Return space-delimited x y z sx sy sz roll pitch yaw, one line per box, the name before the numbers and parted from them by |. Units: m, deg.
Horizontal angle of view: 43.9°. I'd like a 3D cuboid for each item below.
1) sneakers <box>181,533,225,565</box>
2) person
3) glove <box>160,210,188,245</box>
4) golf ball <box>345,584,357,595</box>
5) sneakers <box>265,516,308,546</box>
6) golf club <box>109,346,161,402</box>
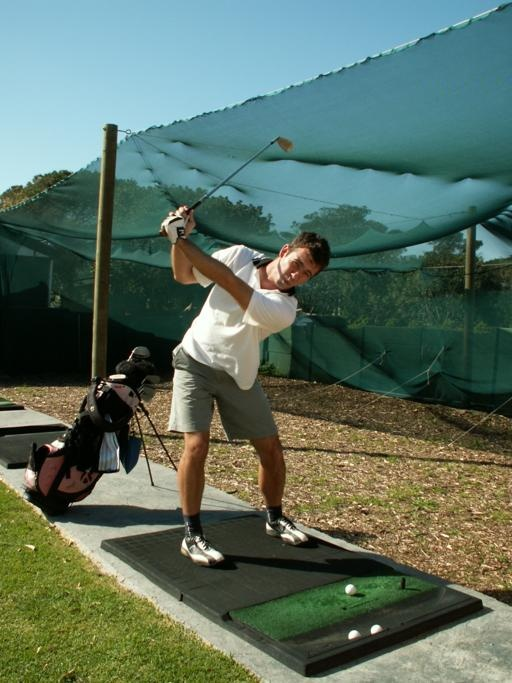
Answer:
sneakers | -0.241 0.905 2.755 0.201 0.124 0.082 5 0 41
person | -0.099 0.177 2.942 0.825 1.609 0.570 6 0 -8
glove | -0.370 -0.517 2.872 0.112 0.146 0.195 6 0 -7
golf ball | 0.374 0.973 2.499 0.037 0.036 0.036 -44 5 5
sneakers | 0.146 0.926 3.079 0.227 0.076 0.084 -2 3 45
golf club | -0.637 0.171 3.504 0.261 0.270 0.339 19 -4 -28
